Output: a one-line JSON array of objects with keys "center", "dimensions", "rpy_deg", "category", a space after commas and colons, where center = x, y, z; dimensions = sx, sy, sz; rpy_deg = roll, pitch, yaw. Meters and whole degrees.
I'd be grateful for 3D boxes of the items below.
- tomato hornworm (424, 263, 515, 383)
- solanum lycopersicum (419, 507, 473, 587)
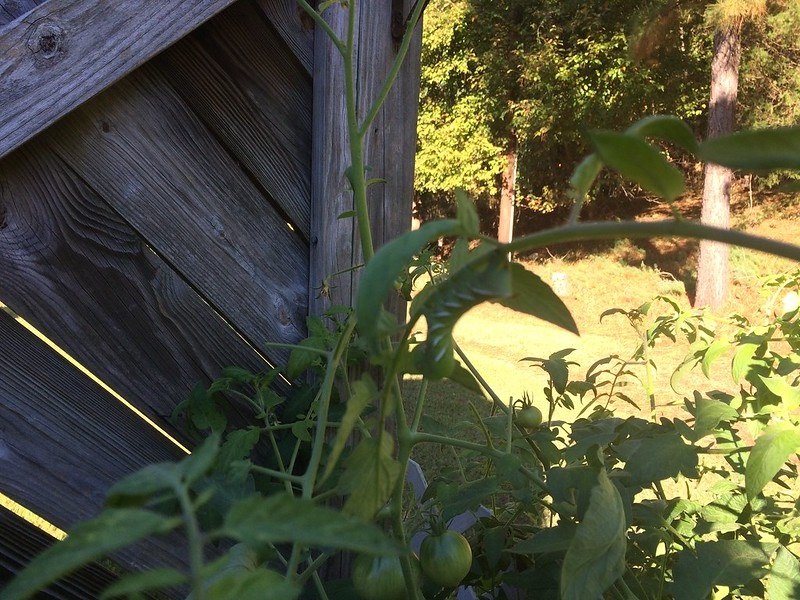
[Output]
[{"center": [0.052, 0.022, 0.760], "dimensions": [0.061, 0.034, 0.113], "rpy_deg": [56, -43, 21], "category": "tomato hornworm"}, {"center": [0.055, 0.305, 1.008], "dimensions": [0.067, 0.112, 0.072], "rpy_deg": [-5, -19, -3], "category": "solanum lycopersicum"}]
